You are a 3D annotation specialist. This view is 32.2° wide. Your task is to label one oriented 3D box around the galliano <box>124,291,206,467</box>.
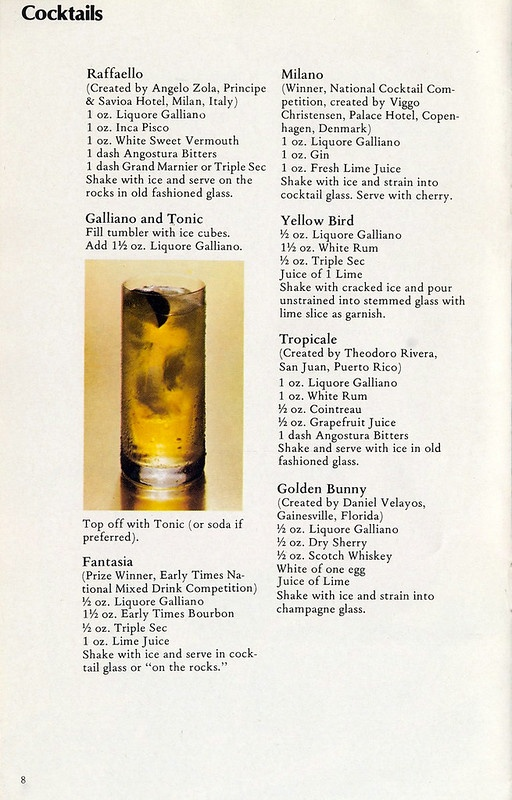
[{"bbox_3d":[-0.117,-0.030,1.122,0.109,0.213,0.113,2,-21,-3],"label":"galliano"}]
